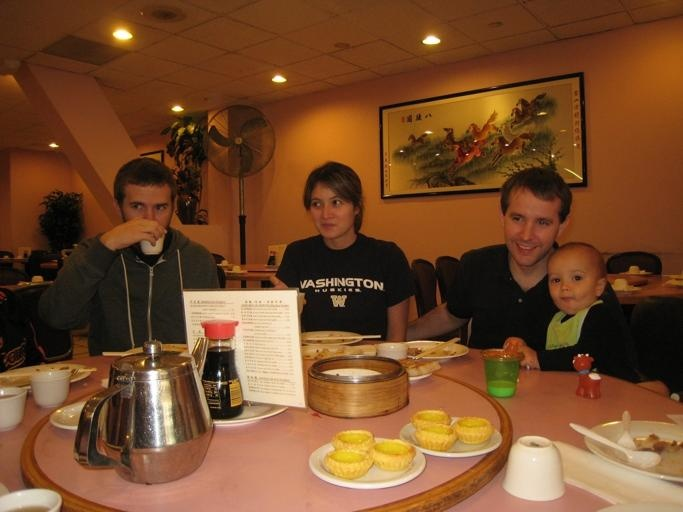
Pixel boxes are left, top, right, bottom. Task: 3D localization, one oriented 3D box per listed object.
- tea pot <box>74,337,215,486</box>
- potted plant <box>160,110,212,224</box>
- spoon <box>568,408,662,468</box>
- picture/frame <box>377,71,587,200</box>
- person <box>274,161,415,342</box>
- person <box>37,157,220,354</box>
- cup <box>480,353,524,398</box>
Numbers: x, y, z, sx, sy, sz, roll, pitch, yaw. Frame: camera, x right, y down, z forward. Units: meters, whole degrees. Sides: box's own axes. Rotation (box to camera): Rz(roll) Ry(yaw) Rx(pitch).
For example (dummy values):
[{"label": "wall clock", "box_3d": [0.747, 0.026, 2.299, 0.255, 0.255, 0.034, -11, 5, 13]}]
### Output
[{"label": "tea pot", "box_3d": [-0.453, 0.323, 1.229, 0.279, 0.306, 0.307, 4, 3, 0]}, {"label": "potted plant", "box_3d": [-2.284, -1.281, 7.676, 0.724, 1.574, 0.730, 1, 3, -18]}, {"label": "spoon", "box_3d": [0.666, 0.425, 1.271, 0.179, 0.104, 0.156, -1, 2, -40]}, {"label": "picture/frame", "box_3d": [1.454, -1.256, 5.668, 2.370, 1.102, 0.091, 3, 13, 40]}, {"label": "person", "box_3d": [-0.013, 0.035, 2.670, 0.569, 0.966, 0.525, 2, 7, -17]}, {"label": "person", "box_3d": [-0.832, 0.082, 2.257, 0.574, 0.981, 0.824, -2, 5, -31]}, {"label": "cup", "box_3d": [0.488, 0.362, 1.567, 0.099, 0.122, 0.105, 1, 1, 0]}]
